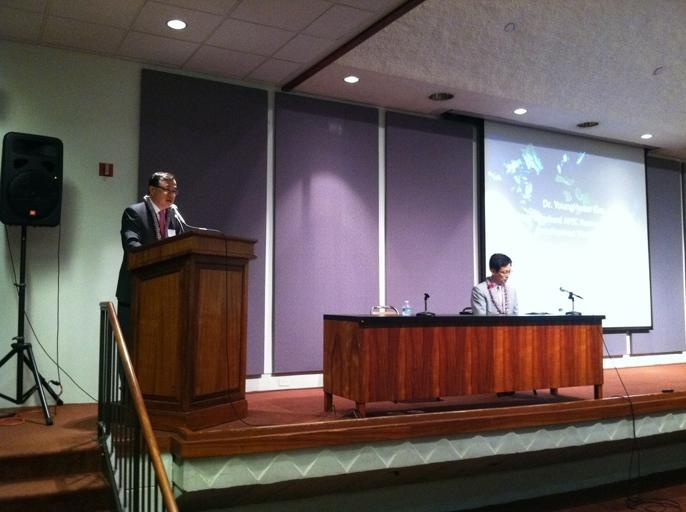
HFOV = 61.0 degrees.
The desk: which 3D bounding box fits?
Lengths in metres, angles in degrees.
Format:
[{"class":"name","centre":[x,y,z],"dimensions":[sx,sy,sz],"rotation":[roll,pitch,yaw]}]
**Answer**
[{"class":"desk","centre":[1.268,0.927,5.455],"dimensions":[2.308,0.919,0.736],"rotation":[0,4,-15]}]

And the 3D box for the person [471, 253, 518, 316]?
[{"class":"person","centre":[1.625,0.391,6.113],"dimensions":[0.482,0.802,0.425],"rotation":[4,0,-5]}]

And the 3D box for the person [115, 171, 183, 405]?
[{"class":"person","centre":[-1.557,-0.003,4.735],"dimensions":[0.534,1.400,0.670],"rotation":[-1,-2,-25]}]

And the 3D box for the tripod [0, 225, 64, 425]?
[{"class":"tripod","centre":[-2.853,0.576,5.259],"dimensions":[0.525,1.737,1.100],"rotation":[-1,-2,-26]}]

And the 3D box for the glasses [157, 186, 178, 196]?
[{"class":"glasses","centre":[-1.416,-0.524,4.756],"dimensions":[0.084,0.060,0.208],"rotation":[-2,-2,14]}]
